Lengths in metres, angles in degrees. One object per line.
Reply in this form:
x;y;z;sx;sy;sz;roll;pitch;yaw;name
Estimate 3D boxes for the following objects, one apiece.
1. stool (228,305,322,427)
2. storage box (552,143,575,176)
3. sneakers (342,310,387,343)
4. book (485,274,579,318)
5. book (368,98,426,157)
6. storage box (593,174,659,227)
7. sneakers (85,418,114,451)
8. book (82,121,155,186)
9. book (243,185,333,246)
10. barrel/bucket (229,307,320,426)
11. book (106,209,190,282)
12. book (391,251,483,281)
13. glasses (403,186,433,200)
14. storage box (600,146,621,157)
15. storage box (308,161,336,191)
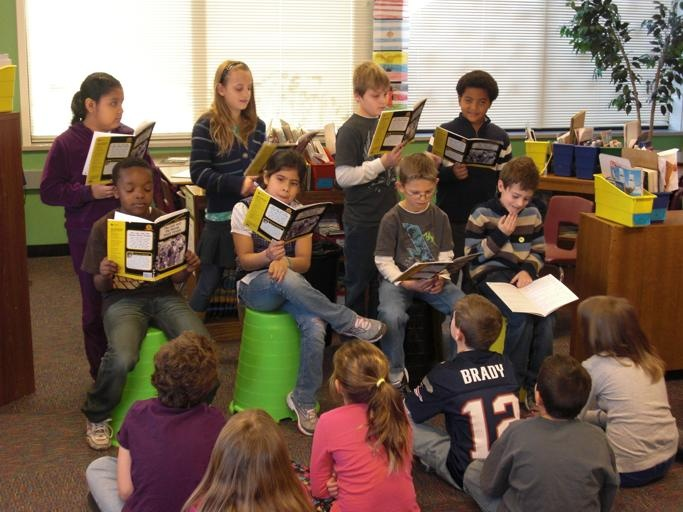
-0.378;0.508;2.899;0.473;0.569;0.451;4;7;-20;stool
1.608;-0.704;4.277;0.077;0.236;0.200;-10;16;-37;storage box
0.080;0.355;2.914;0.264;0.097;0.115;9;-7;23;sneakers
0.983;0.204;2.970;0.351;0.069;0.233;-13;30;-14;book
0.298;-0.700;3.200;0.236;0.293;0.342;5;14;21;book
1.508;-0.293;3.119;0.303;0.252;0.227;7;14;27;storage box
-1.094;0.809;2.642;0.068;0.083;0.180;0;7;-29;sneakers
-1.129;-0.507;2.885;0.363;0.340;0.140;-11;51;-38;book
-0.256;-0.193;2.730;0.380;0.259;0.255;-3;13;-13;book
-0.362;0.525;2.973;0.471;0.549;0.456;6;7;-1;barrel/bucket
-0.862;-0.047;2.602;0.351;0.318;0.227;-5;14;-22;book
0.486;0.050;3.017;0.444;0.043;0.417;-12;-3;-40;book
0.411;-0.329;3.088;0.147;0.059;0.141;1;12;4;glasses
1.785;-0.693;3.864;0.122;0.045;0.328;5;13;22;storage box
-0.130;-0.547;4.033;0.209;0.203;0.176;-2;5;-21;storage box
